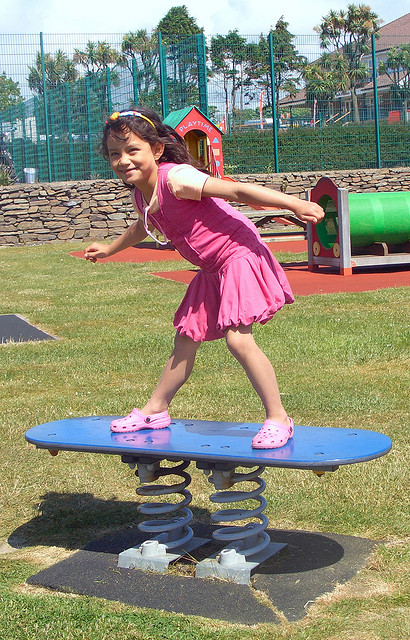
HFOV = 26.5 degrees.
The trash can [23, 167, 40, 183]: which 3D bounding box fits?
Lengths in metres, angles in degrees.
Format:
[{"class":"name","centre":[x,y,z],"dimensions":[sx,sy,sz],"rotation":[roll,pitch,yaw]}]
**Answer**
[{"class":"trash can","centre":[-4.151,-3.540,20.999],"dimensions":[0.386,0.361,0.210],"rotation":[-6,13,-6]}]

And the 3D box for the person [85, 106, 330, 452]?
[{"class":"person","centre":[-0.005,-0.196,3.420],"dimensions":[0.944,1.323,0.630],"rotation":[5,17,39]}]

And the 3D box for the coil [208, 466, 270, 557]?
[{"class":"coil","centre":[0.131,0.723,3.346],"dimensions":[0.214,0.340,0.356],"rotation":[-5,12,2]}]

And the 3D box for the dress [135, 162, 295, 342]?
[{"class":"dress","centre":[-0.002,-0.313,3.511],"dimensions":[0.563,0.717,0.413],"rotation":[-5,1,9]}]
